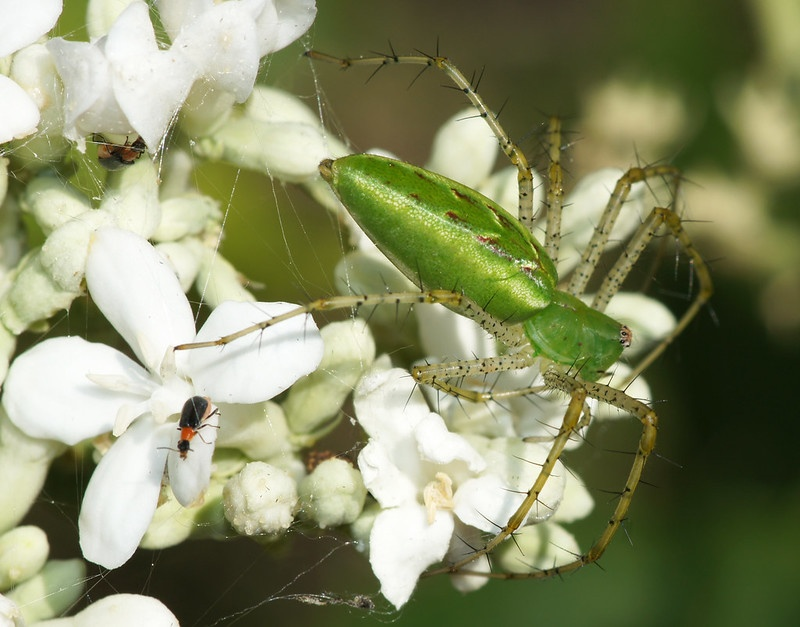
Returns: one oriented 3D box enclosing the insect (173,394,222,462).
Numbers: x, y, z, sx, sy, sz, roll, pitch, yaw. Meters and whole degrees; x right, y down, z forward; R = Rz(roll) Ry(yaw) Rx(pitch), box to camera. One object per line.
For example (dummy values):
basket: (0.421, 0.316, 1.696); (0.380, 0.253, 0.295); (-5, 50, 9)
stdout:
insect: (-0.224, 0.115, 0.912); (0.045, 0.026, 0.079); (4, 47, 3)

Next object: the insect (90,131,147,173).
insect: (-0.329, -0.186, 0.997); (0.050, 0.046, 0.023); (8, 33, -15)
